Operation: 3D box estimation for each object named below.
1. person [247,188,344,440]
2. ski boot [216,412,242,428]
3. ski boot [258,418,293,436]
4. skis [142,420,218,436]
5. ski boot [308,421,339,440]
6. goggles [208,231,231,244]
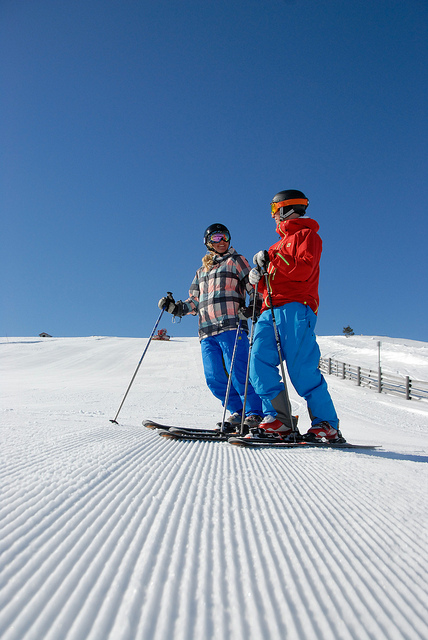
[{"bbox_3d":[0.514,-0.110,3.200,0.665,1.792,0.577,-3,-8,38],"label":"person"},{"bbox_3d":[0.129,0.811,3.681,0.077,0.103,0.234,-7,-15,45],"label":"ski boot"},{"bbox_3d":[0.392,0.703,3.015,0.216,0.111,0.068,3,-7,-4],"label":"ski boot"},{"bbox_3d":[-0.228,0.727,3.029,0.347,0.060,0.195,6,-5,-16],"label":"skis"},{"bbox_3d":[0.701,0.720,3.006,0.113,0.109,0.265,-3,-9,40],"label":"ski boot"},{"bbox_3d":[0.038,-0.753,4.085,0.188,0.109,0.133,3,-7,-5],"label":"goggles"}]
